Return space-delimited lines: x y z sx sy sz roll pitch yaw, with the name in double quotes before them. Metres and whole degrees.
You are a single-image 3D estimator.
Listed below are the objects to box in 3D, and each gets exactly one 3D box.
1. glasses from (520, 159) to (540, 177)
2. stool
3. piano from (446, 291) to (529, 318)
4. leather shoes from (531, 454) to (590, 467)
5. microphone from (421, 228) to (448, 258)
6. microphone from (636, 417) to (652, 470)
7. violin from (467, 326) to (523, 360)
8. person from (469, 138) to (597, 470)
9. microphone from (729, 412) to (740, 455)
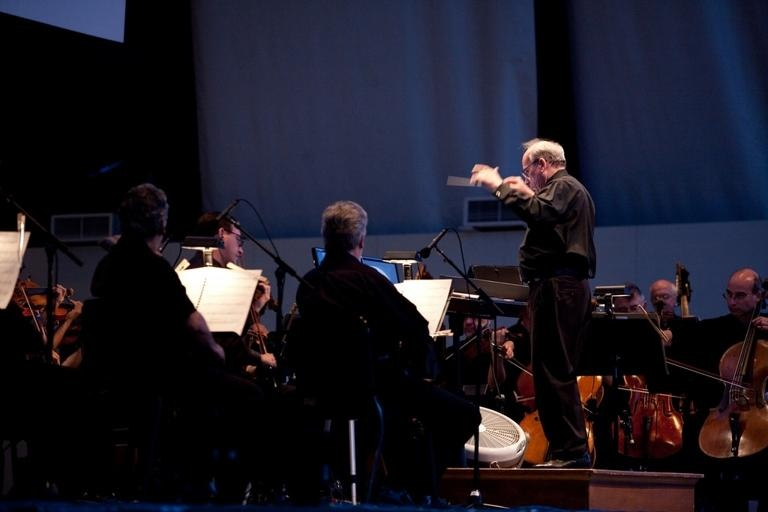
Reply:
"glasses" 1.309 -0.815 7.471 0.042 0.129 0.134 38 -23 0
"stool" -0.311 1.564 6.803 0.340 0.906 0.392 1 3 8
"piano" 0.905 0.446 7.431 0.387 0.106 0.359 2 -7 33
"leather shoes" 1.496 1.702 6.930 0.428 0.102 0.166 -2 -5 5
"microphone" 0.611 -0.154 9.876 0.486 0.148 0.162 -38 -4 11
"microphone" 2.600 1.866 8.313 0.159 0.447 0.077 4 1 38
"violin" 1.231 0.903 8.817 0.378 0.242 0.649 -4 -8 30
"person" 1.449 0.374 7.324 0.940 2.763 1.110 -1 3 -22
"microphone" 3.291 1.666 7.804 0.088 0.335 0.049 -4 -24 33
